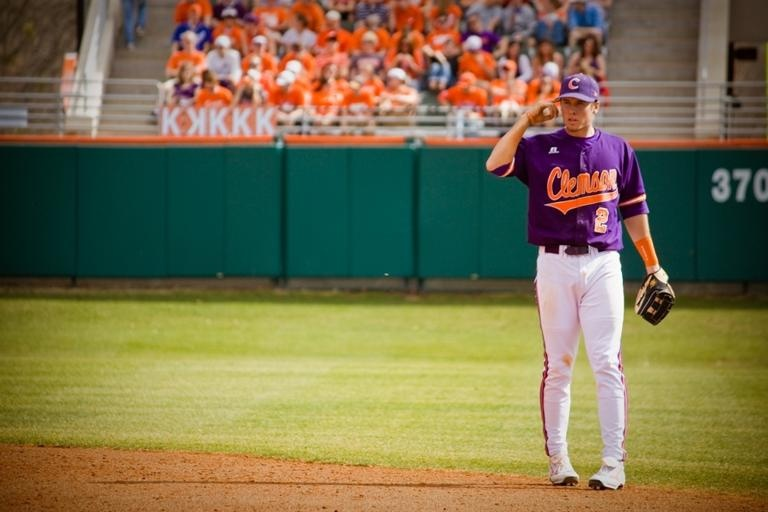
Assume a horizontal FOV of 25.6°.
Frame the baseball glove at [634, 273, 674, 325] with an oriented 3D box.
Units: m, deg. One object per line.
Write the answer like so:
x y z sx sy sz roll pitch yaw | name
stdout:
2.940 0.533 18.665 0.473 0.292 0.677 -26 0 19 | baseball glove

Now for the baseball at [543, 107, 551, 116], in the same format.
1.759 -1.593 18.399 0.071 0.129 0.069 10 19 28 | baseball

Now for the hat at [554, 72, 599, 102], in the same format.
2.075 -1.834 18.279 0.385 0.218 0.286 9 4 -37 | hat

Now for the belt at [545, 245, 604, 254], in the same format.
2.006 -0.063 18.303 0.583 0.106 0.096 0 -1 -2 | belt

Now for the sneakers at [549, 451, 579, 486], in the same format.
1.905 2.327 18.473 0.227 0.288 0.576 -9 8 -4 | sneakers
